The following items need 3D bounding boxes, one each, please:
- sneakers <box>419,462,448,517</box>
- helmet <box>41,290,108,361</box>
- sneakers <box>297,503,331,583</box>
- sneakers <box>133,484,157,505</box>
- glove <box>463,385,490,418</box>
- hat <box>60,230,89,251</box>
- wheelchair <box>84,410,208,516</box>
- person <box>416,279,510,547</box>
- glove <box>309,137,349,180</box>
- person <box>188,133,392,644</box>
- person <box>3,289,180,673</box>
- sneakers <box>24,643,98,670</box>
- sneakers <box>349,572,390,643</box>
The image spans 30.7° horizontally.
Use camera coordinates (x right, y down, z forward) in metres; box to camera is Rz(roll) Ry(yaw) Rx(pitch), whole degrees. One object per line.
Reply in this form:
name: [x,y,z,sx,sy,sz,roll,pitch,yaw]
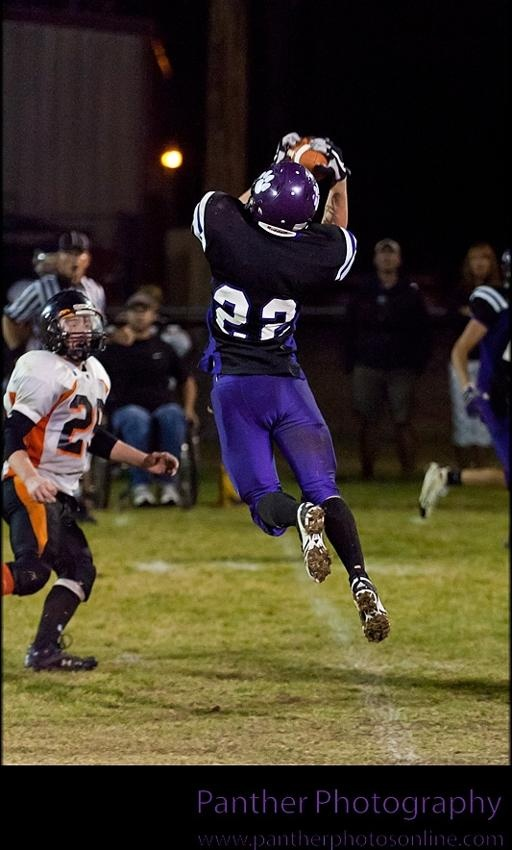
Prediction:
sneakers: [0.843,0.315,4.485,0.071,0.245,0.169,10,12,-40]
helmet: [-0.608,-0.321,3.046,0.201,0.213,0.271,-10,19,-26]
sneakers: [0.179,0.366,2.786,0.088,0.244,0.113,-13,1,-11]
sneakers: [-0.785,0.492,6.518,0.162,0.079,0.241,1,-3,-12]
glove: [1.012,-0.116,4.285,0.056,0.048,0.154,-32,-13,-13]
hat: [-1.042,-1.046,5.297,0.160,0.100,0.300,-5,17,-12]
wheelchair: [-0.695,0.221,6.496,0.662,0.957,0.800,2,-21,-6]
person: [0.965,-0.073,4.298,0.402,1.164,0.674,1,17,9]
glove: [0.232,-0.938,3.299,0.057,0.163,0.122,-33,12,43]
person: [0.088,-0.160,3.009,0.537,1.474,1.103,-2,17,-1]
person: [-0.620,0.229,3.025,0.429,1.255,0.632,9,20,32]
sneakers: [-0.658,0.793,3.174,0.261,0.112,0.090,1,-2,-8]
sneakers: [0.342,0.558,2.730,0.084,0.223,0.107,-17,22,0]
